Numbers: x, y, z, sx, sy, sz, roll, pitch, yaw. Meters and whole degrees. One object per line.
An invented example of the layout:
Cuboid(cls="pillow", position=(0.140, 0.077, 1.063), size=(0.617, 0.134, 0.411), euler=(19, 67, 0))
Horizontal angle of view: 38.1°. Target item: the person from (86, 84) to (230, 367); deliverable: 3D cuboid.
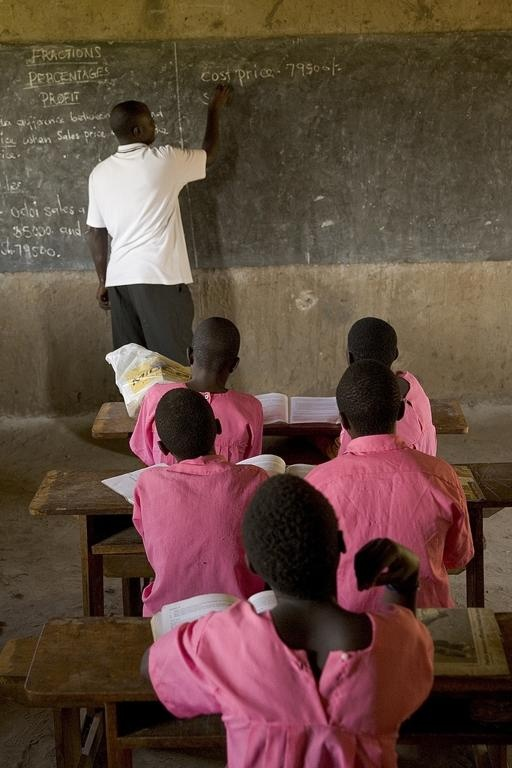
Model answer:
Cuboid(cls="person", position=(-0.505, -0.580, 3.425), size=(0.543, 0.992, 0.385), euler=(-1, 10, -3))

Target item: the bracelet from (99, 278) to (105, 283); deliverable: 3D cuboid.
Cuboid(cls="bracelet", position=(-0.743, -0.501, 3.582), size=(0.031, 0.028, 0.026), euler=(2, -1, -28))

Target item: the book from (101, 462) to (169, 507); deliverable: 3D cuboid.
Cuboid(cls="book", position=(-0.303, 0.247, 1.820), size=(0.208, 0.025, 0.180), euler=(-3, 11, -16))

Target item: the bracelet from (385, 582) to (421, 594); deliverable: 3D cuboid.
Cuboid(cls="bracelet", position=(0.214, 0.298, 1.092), size=(0.041, 0.010, 0.038), euler=(0, 2, -8))
